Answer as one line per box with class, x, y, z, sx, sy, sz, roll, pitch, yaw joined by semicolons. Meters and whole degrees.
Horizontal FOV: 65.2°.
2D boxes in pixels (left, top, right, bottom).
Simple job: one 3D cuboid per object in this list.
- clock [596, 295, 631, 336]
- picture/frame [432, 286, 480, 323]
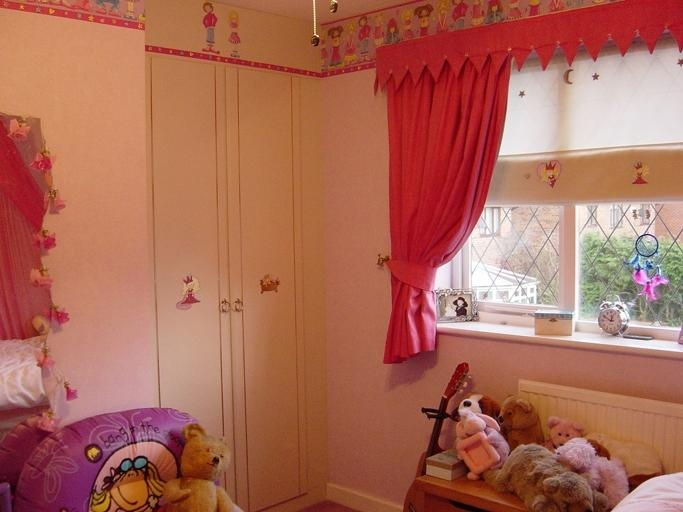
clock;1.470;0.325;2.893;0.151;0.203;0.153;2;2;28
picture/frame;0.691;0.310;3.270;0.205;0.183;0.012;0;-7;0
